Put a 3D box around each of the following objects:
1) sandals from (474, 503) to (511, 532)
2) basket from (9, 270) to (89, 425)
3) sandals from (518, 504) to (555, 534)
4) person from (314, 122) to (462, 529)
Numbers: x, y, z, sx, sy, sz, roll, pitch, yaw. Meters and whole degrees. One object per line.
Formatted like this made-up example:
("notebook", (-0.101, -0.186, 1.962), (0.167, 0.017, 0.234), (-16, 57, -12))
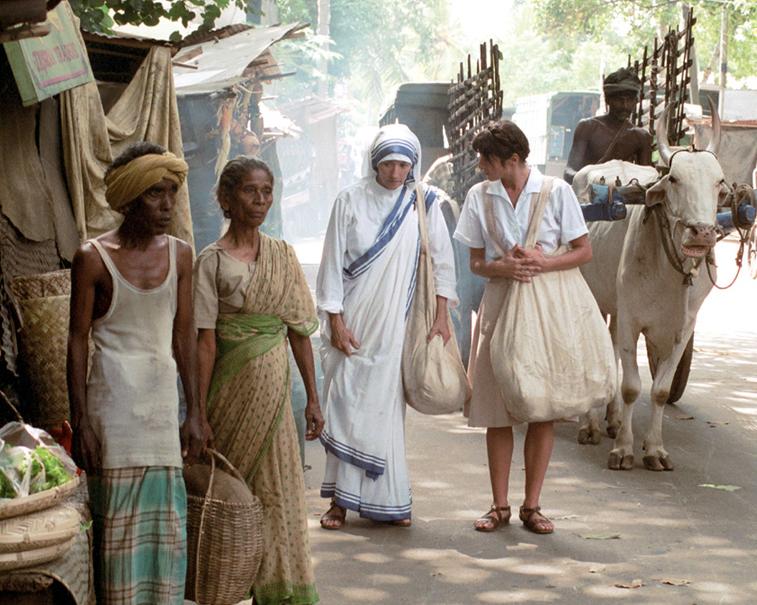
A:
("sandals", (0.726, 1.389, 6.029), (0.104, 0.111, 0.274), (-9, -15, 36))
("basket", (-1.824, 0.268, 5.232), (0.199, 0.802, 0.647), (1, 5, 35))
("sandals", (0.994, 1.390, 5.994), (0.115, 0.088, 0.229), (-4, -2, -14))
("person", (-0.058, 0.167, 6.043), (0.681, 2.572, 0.501), (-1, 8, 1))
